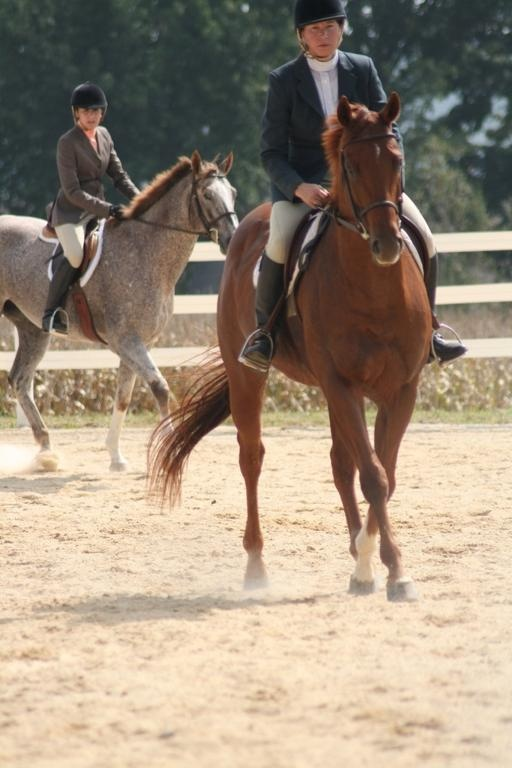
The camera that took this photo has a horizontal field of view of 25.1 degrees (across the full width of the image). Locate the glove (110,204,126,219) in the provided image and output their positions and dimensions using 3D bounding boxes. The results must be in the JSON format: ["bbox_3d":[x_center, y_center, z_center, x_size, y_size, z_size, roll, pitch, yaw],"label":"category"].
[{"bbox_3d":[-1.084,-1.292,8.693,0.085,0.108,0.054,-9,31,-4],"label":"glove"}]

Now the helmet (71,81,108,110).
[{"bbox_3d":[-1.247,-2.097,8.366,0.200,0.158,0.258,-1,8,-10],"label":"helmet"}]

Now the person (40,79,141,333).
[{"bbox_3d":[-1.312,-1.318,8.711,0.701,1.868,0.848,-1,7,-6],"label":"person"}]
